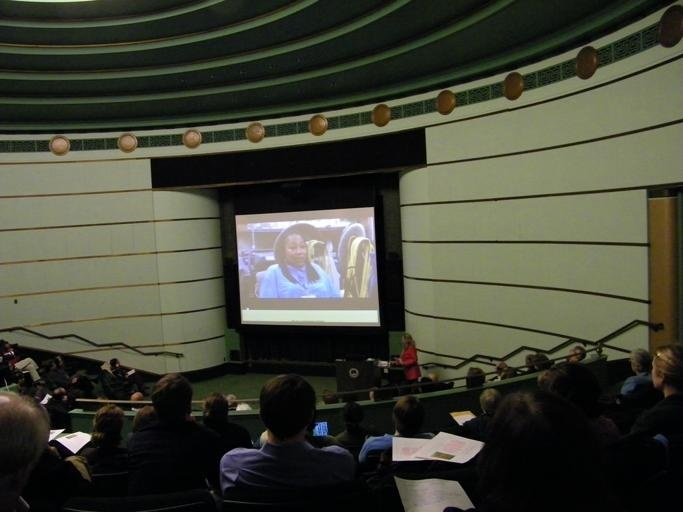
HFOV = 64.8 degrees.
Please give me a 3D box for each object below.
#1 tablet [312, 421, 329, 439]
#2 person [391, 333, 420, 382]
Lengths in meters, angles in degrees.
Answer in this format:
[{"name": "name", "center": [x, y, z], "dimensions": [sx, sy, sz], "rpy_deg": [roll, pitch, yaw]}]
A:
[{"name": "tablet", "center": [-0.184, 1.594, 4.885], "dimensions": [0.158, 0.156, 0.157], "rpy_deg": [-1, 6, -17]}, {"name": "person", "center": [1.094, 1.848, 8.787], "dimensions": [0.362, 1.088, 0.389], "rpy_deg": [-7, 1, -12]}]
